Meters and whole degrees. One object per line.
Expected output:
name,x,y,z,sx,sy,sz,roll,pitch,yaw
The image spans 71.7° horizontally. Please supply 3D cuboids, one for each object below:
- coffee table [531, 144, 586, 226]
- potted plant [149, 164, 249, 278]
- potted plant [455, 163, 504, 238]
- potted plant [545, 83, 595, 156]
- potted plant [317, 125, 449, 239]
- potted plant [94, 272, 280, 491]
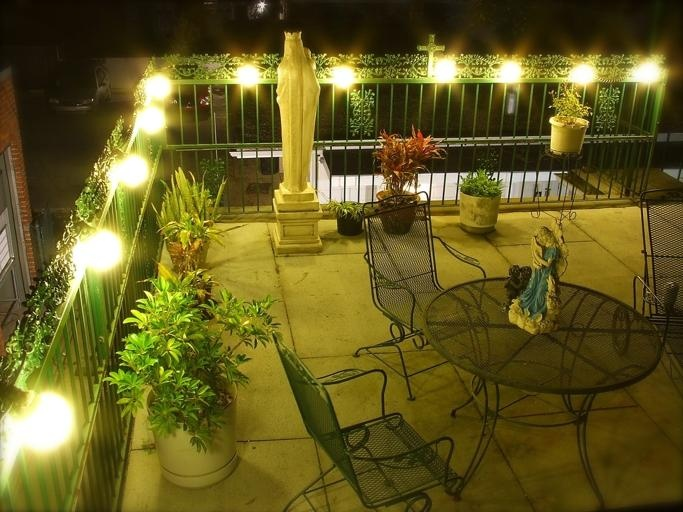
coffee table,3.521,-1.190,7.780,0.783,1.212,0.736,4,2,-22
potted plant,-1.754,-0.431,5.418,0.644,1.217,0.782,-2,5,16
potted plant,1.987,-0.774,6.787,0.554,0.805,0.581,-16,25,-33
potted plant,3.270,-1.984,6.775,0.506,1.079,0.526,-1,5,25
potted plant,0.615,-0.579,6.331,1.682,1.969,1.474,1,35,1
potted plant,-0.946,0.905,3.318,0.966,1.387,0.913,-4,3,-28
